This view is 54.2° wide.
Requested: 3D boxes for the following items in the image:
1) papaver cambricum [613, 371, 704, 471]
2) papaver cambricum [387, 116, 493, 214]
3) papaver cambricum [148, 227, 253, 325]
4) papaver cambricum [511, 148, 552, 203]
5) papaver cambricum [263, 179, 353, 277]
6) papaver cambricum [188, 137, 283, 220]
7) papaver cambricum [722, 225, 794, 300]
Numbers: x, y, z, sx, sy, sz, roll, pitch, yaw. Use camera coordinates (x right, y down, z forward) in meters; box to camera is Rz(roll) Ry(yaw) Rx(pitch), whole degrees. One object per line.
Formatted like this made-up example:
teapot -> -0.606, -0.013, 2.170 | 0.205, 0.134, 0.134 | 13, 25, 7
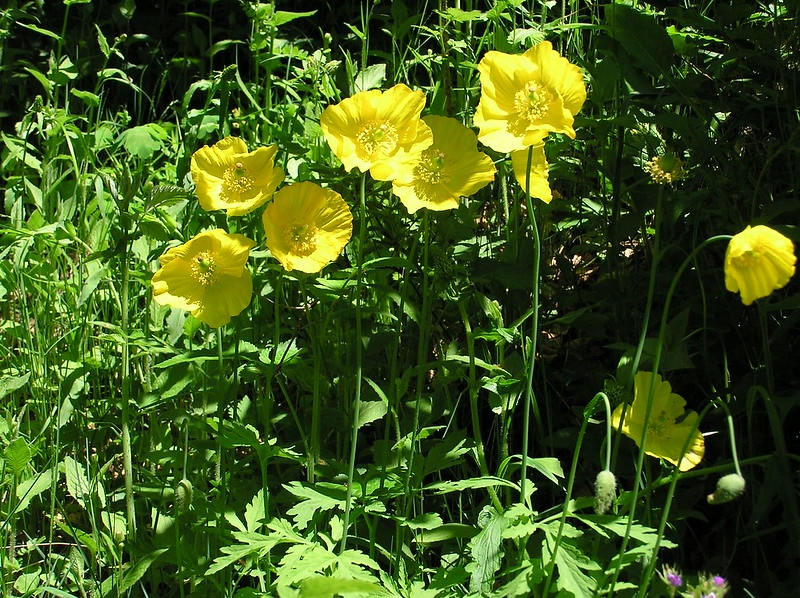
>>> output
papaver cambricum -> 0.577, 0.263, 1.719 | 0.072, 0.196, 0.189 | -18, -46, 43
papaver cambricum -> 0.093, -0.352, 1.820 | 0.218, 0.091, 0.244 | 9, -5, 13
papaver cambricum -> -0.375, -0.055, 1.735 | 0.085, 0.178, 0.174 | 28, 5, -4
papaver cambricum -> 0.297, -0.274, 1.738 | 0.034, 0.074, 0.143 | 23, -35, 48
papaver cambricum -> -0.239, -0.182, 1.749 | 0.167, 0.084, 0.184 | -10, -18, -41
papaver cambricum -> -0.369, -0.298, 1.770 | 0.162, 0.081, 0.165 | 3, 5, 39
papaver cambricum -> 0.673, -0.070, 1.460 | 0.113, 0.139, 0.123 | -10, -25, 36
